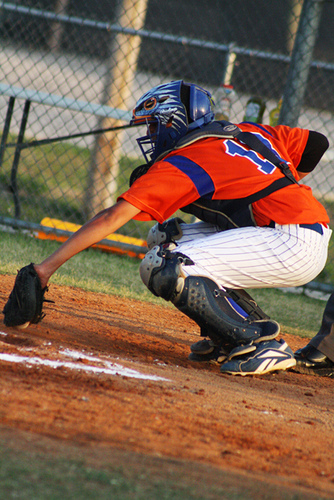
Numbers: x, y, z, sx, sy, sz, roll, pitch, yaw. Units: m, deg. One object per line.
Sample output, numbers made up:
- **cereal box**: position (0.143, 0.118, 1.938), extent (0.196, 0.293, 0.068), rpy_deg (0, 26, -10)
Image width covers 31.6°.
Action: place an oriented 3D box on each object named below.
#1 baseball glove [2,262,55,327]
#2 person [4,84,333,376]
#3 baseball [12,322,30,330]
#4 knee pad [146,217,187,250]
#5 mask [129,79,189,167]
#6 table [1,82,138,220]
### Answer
- **baseball glove**: position (-0.423, 0.142, 1.799), extent (0.085, 0.190, 0.143), rpy_deg (19, 39, -8)
- **person**: position (0.177, -0.079, 2.186), extent (1.342, 0.914, 0.874), rpy_deg (3, 2, 7)
- **baseball**: position (-0.452, 0.239, 1.846), extent (0.036, 0.024, 0.038), rpy_deg (3, 5, 44)
- **knee pad**: position (0.022, -0.062, 2.194), extent (0.175, 0.132, 0.134), rpy_deg (-10, -18, 36)
- **mask**: position (-0.024, -0.444, 2.097), extent (0.228, 0.311, 0.189), rpy_deg (-12, 21, -33)
- **table**: position (-0.825, -0.609, 3.897), extent (0.729, 0.584, 0.317), rpy_deg (15, 5, 29)
